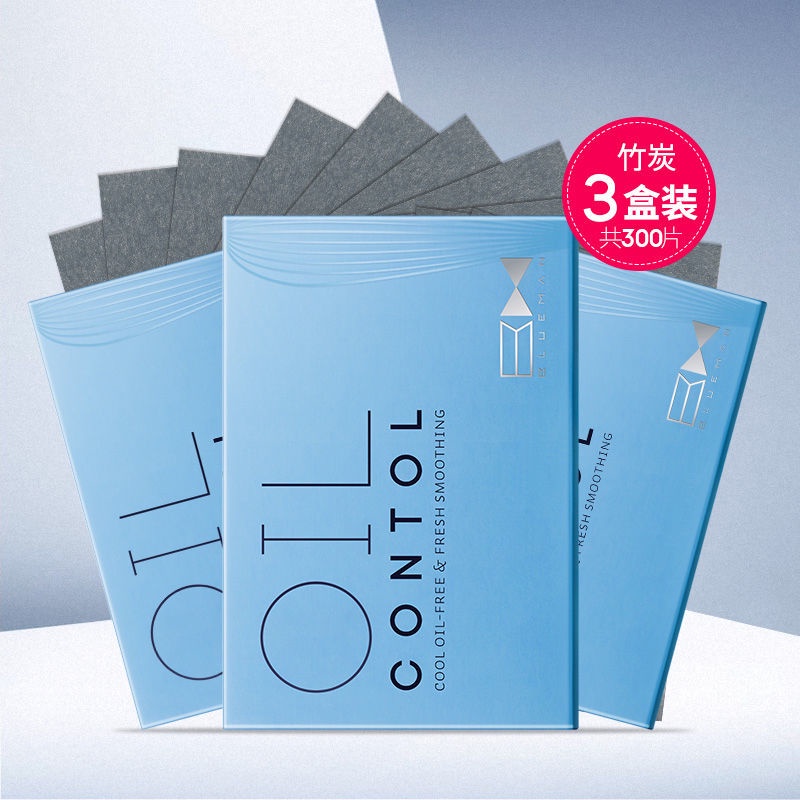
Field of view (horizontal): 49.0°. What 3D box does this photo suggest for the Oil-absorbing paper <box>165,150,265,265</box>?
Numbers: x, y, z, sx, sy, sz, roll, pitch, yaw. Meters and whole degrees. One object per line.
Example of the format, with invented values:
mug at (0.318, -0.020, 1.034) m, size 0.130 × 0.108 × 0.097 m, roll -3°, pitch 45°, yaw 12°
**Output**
Oil-absorbing paper at (-0.452, -0.470, 2.148) m, size 0.208 × 0.350 × 0.025 m, roll 7°, pitch 6°, yaw -1°
